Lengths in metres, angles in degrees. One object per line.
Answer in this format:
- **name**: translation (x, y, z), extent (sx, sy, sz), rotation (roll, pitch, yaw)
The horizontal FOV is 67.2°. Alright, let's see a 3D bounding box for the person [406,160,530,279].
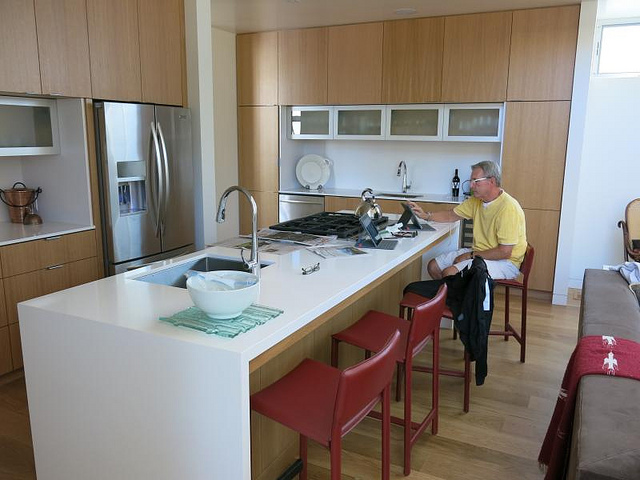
- **person**: translation (1.280, 0.010, 4.264), extent (1.026, 1.390, 0.661), rotation (8, 10, 34)

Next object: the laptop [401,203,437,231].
- **laptop**: translation (0.781, -0.168, 3.933), extent (0.217, 0.157, 0.241), rotation (-2, 8, -6)

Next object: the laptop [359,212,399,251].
- **laptop**: translation (0.435, -0.082, 3.309), extent (0.301, 0.225, 0.344), rotation (-10, 7, 26)

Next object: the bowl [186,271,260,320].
- **bowl**: translation (-0.433, 0.249, 2.088), extent (0.317, 0.157, 0.309), rotation (3, 12, -1)

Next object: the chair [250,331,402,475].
- **chair**: translation (0.039, 0.779, 2.249), extent (0.553, 0.750, 0.494), rotation (9, 16, 33)

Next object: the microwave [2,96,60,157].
- **microwave**: translation (-2.351, -0.927, 3.872), extent (0.235, 0.336, 0.474), rotation (5, 10, 17)
